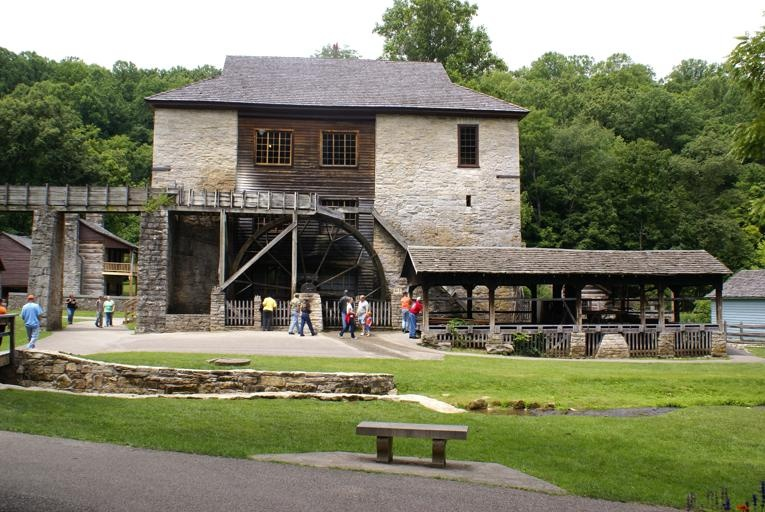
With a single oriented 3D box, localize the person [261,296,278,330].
[{"bbox_3d":[-6.029,3.076,39.377,0.803,1.726,1.450,3,-6,-8],"label":"person"}]
